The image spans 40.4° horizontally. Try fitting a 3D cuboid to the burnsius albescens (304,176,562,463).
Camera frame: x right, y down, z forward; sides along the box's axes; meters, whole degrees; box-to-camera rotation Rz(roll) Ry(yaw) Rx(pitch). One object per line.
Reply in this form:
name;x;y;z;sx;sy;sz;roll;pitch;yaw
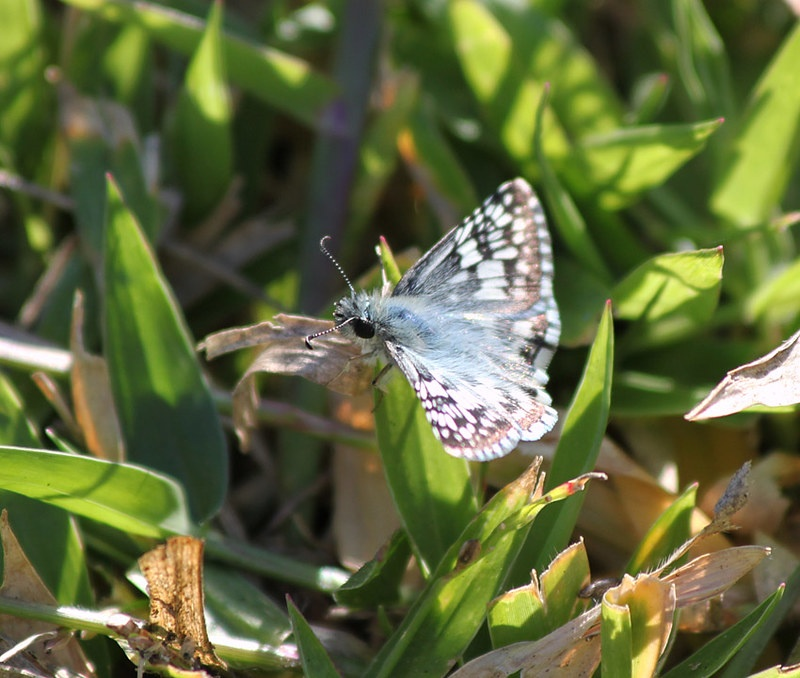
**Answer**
burnsius albescens;0.053;-0.035;1.213;0.288;0.202;0.290;18;36;10
